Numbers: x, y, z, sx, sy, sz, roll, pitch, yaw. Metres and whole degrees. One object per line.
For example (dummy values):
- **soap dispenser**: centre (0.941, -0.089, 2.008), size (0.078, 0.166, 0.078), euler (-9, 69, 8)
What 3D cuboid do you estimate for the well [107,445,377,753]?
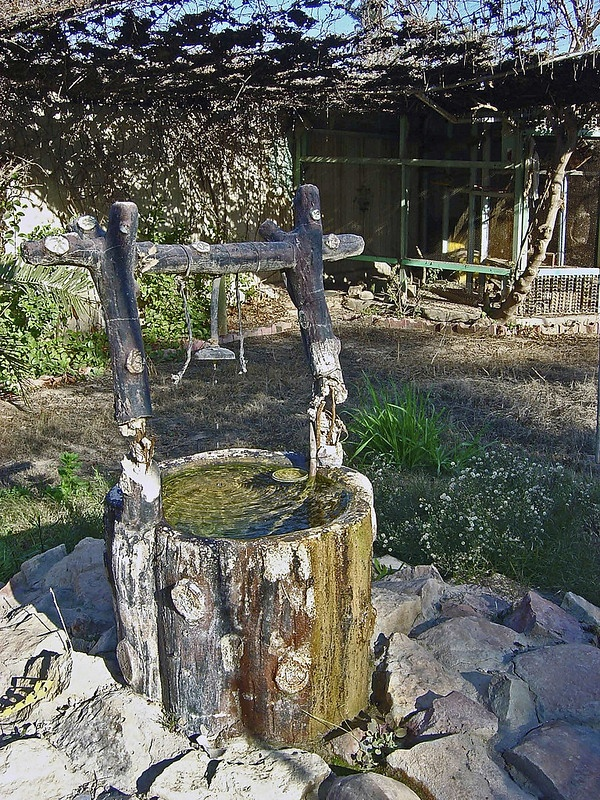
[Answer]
- **well**: centre (-0.182, 0.620, 2.750), size (0.887, 0.723, 0.895), euler (4, 17, 13)
